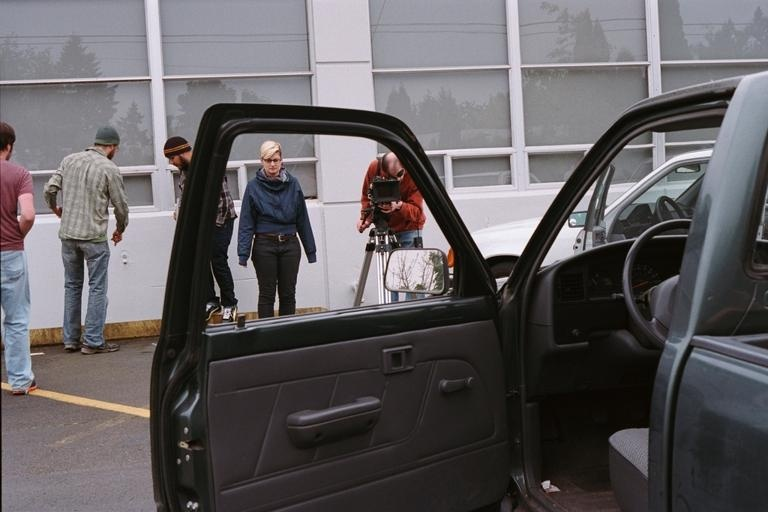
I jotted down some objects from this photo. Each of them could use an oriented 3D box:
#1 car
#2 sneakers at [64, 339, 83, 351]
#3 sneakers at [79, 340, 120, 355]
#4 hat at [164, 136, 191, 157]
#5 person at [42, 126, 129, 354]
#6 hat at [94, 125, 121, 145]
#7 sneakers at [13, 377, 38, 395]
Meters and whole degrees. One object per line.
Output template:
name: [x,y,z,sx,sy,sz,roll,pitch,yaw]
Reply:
car: [1.862,-0.392,7.835,2.233,1.219,1.447,-7,5,11]
sneakers: [-3.575,1.032,9.286,0.106,0.146,0.290,1,-12,0]
sneakers: [-3.235,1.035,9.179,0.442,0.206,0.169,-3,5,-36]
hat: [-2.306,-1.203,8.912,0.267,0.191,0.257,-17,8,-32]
person: [-3.298,-0.174,9.087,0.785,2.513,0.384,-4,7,-18]
hat: [-3.137,-1.341,9.152,0.241,0.231,0.273,3,3,9]
sneakers: [-3.420,1.241,7.708,0.093,0.136,0.281,6,14,16]
